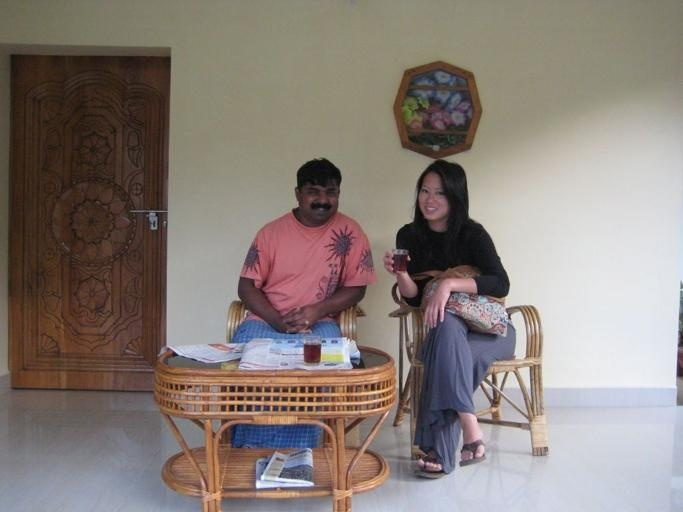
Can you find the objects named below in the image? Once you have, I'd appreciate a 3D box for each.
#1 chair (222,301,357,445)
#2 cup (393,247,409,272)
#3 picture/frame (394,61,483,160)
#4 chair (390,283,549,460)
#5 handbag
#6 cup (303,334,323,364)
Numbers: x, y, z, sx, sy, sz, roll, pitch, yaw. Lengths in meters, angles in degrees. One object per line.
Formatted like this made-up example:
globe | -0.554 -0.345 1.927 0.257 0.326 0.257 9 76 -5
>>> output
chair | -0.259 0.687 3.286 0.577 0.870 0.710 1 -7 -1
cup | 0.305 0.007 2.917 0.096 0.114 0.091 1 -1 0
picture/frame | 0.637 -0.998 3.787 0.621 0.722 0.035 0 0 -2
chair | 0.733 0.541 3.438 0.859 1.211 0.921 -1 -3 6
handbag | 0.676 0.252 3.029 0.375 0.407 0.149 8 -25 2
cup | -0.122 0.398 2.467 0.115 0.149 0.091 0 -4 10
